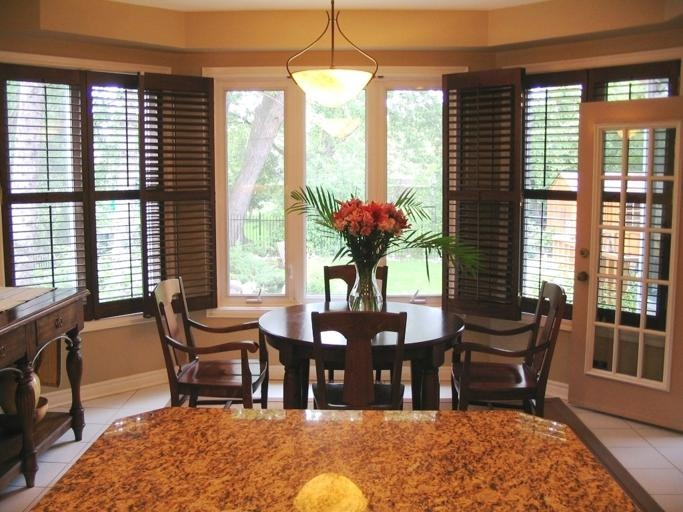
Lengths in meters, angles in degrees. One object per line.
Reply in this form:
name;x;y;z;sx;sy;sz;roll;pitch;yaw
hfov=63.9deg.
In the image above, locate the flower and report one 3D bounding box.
flower;0.280;-0.129;3.782;1.231;0.745;1.137;2;-1;18
